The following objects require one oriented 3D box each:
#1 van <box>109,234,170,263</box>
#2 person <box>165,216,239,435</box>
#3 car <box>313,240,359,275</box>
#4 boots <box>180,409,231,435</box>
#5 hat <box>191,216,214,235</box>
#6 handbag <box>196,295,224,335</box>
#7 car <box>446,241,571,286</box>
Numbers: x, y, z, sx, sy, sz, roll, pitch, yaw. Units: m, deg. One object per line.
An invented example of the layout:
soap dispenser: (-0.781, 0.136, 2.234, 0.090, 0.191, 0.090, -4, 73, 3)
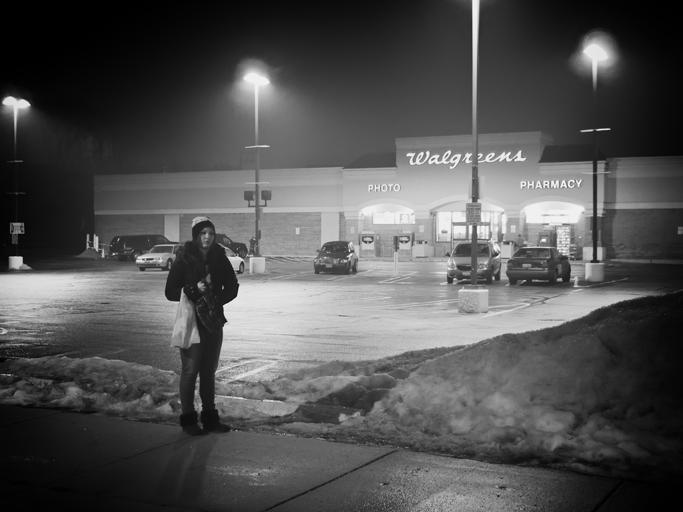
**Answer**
van: (-15.776, -0.020, 49.839, 4.283, 2.337, 2.779, -3, 3, 6)
person: (-1.682, 0.790, 7.888, 0.847, 2.537, 0.730, 0, 2, -11)
car: (-0.291, 0.072, 37.178, 2.330, 1.739, 2.517, 0, 2, 2)
boots: (-1.647, 1.998, 7.693, 0.370, 0.174, 0.313, 4, -4, -7)
hat: (-1.696, -0.400, 7.869, 0.228, 0.214, 0.248, -12, -7, 1)
handbag: (-1.550, 0.687, 7.698, 0.161, 0.443, 0.328, -14, 9, 25)
car: (7.575, 0.334, 29.686, 5.234, 1.840, 2.868, 1, 2, 15)
